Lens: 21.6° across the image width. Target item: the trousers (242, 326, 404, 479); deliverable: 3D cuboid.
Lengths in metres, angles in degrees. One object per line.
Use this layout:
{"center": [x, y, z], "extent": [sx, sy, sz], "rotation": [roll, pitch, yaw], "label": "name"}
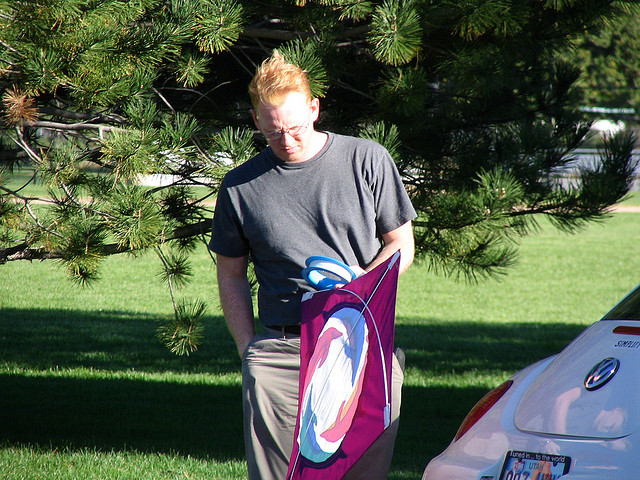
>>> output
{"center": [0.024, 1.267, 12.925], "extent": [0.877, 1.109, 0.080], "rotation": [6, -13, 2], "label": "trousers"}
